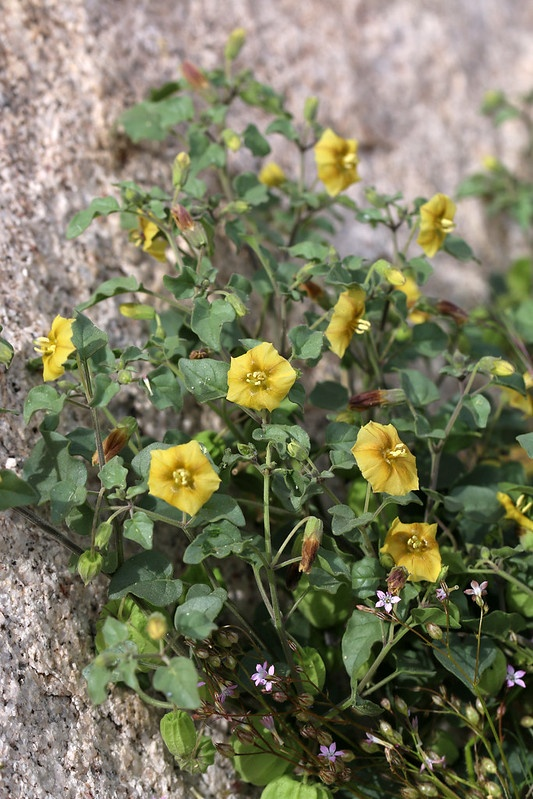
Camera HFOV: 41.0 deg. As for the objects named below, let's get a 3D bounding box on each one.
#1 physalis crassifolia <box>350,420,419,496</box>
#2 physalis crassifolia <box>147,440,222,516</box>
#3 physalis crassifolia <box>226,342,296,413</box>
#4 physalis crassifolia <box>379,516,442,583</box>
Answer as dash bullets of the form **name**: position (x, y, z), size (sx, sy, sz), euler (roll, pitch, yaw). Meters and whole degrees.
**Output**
- **physalis crassifolia**: position (0.173, 0.083, 1.032), size (0.117, 0.055, 0.104), euler (18, 66, -33)
- **physalis crassifolia**: position (-0.117, 0.109, 0.983), size (0.087, 0.076, 0.079), euler (-22, 50, -25)
- **physalis crassifolia**: position (-0.017, -0.048, 1.045), size (0.097, 0.089, 0.032), euler (-21, 74, -16)
- **physalis crassifolia**: position (0.226, 0.238, 1.123), size (0.095, 0.087, 0.096), euler (10, 44, 5)
